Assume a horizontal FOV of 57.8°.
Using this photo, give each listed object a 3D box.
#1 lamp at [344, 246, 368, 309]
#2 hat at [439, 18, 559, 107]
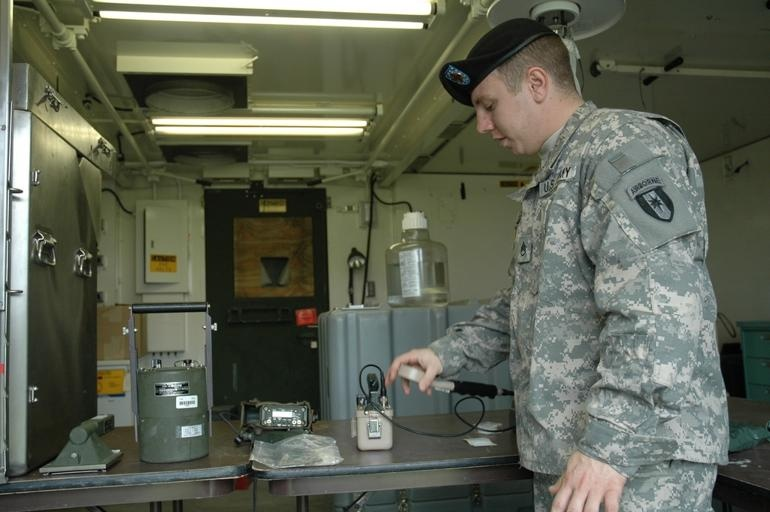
[{"bbox_3d":[-0.307,0.196,7.263,0.197,0.565,0.249,-1,6,-3],"label":"lamp"},{"bbox_3d":[0.430,-0.722,2.637,0.414,0.209,0.302,-11,-4,5],"label":"hat"}]
